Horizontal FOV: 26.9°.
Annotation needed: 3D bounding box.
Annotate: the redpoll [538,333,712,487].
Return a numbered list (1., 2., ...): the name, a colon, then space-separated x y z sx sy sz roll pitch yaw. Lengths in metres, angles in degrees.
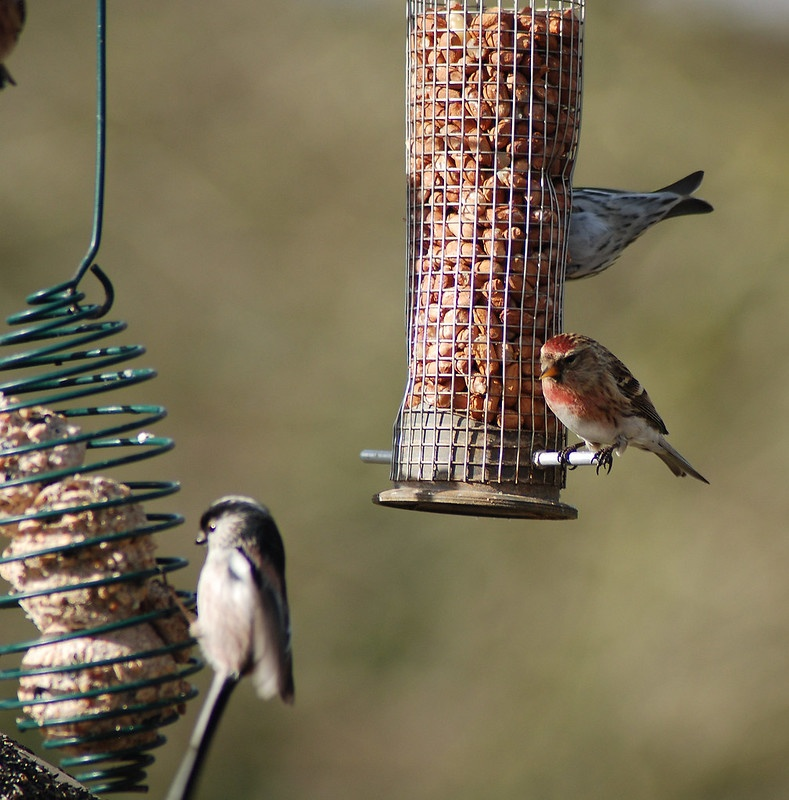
1. redpoll: 0.871 0.020 6.303 0.815 0.539 0.288 4 6 -38
